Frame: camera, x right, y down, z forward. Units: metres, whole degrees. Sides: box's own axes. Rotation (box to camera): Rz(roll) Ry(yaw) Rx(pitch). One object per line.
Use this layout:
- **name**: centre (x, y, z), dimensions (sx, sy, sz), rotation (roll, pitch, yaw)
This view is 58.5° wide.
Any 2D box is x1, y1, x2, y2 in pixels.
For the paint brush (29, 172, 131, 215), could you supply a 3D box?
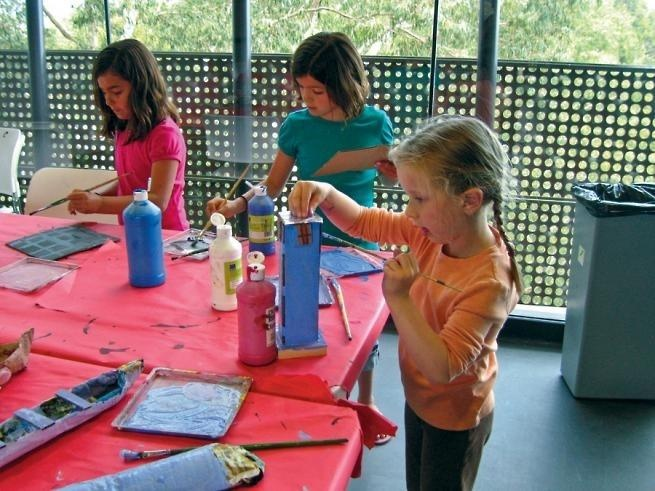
- **paint brush**: centre (-1.174, -0.256, 2.816), dimensions (0.582, 0.068, 0.078), rotation (-20, -14, 2)

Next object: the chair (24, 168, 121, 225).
- **chair**: centre (-1.325, -0.178, 3.129), dimensions (0.310, 0.406, 0.578), rotation (2, -4, 3)

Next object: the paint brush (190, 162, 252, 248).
- **paint brush**: centre (-0.531, -0.238, 2.949), dimensions (0.046, 0.070, 0.676), rotation (2, 48, 46)
